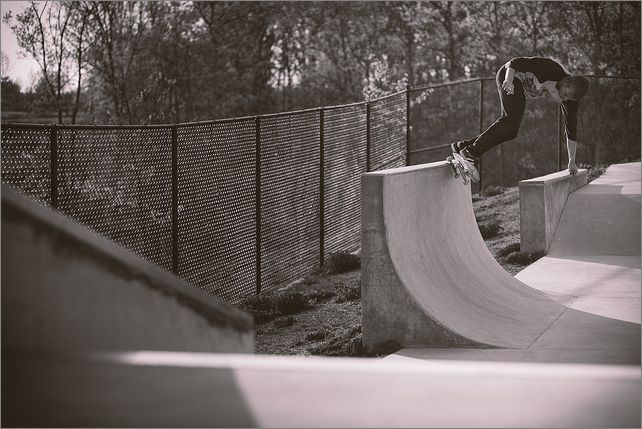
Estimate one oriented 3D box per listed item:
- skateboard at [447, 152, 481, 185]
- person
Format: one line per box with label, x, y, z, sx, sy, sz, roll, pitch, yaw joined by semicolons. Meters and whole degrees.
skateboard;1.588;-0.503;7.793;0.126;0.371;0.368;-29;9;38
person;2.532;-1.252;8.602;1.617;1.580;0.792;8;-2;34
